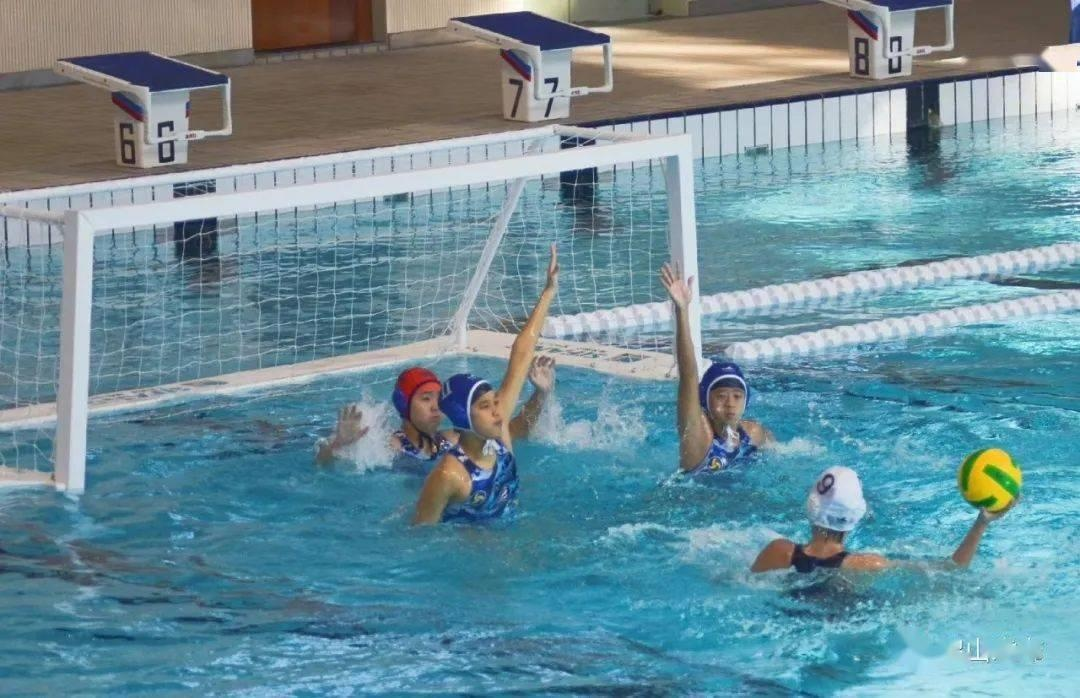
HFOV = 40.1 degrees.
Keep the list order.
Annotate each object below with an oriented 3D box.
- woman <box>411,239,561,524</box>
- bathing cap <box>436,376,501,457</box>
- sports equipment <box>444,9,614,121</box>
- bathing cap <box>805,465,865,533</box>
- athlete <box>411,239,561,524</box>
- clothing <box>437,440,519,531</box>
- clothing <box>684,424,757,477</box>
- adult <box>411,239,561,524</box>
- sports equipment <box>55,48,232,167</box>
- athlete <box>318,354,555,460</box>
[{"bbox_3d":[-0.259,0.187,6.805,0.455,1.099,0.914,1,12,21],"label":"woman"},{"bbox_3d":[-0.333,0.242,6.448,0.149,0.270,0.252,-13,14,-37],"label":"bathing cap"},{"bbox_3d":[-0.007,-2.449,12.733,1.182,0.971,0.758,5,14,38],"label":"sports equipment"},{"bbox_3d":[1.241,0.598,6.076,0.284,0.240,0.286,4,-1,-7],"label":"bathing cap"},{"bbox_3d":[-0.290,0.183,7.702,0.411,1.851,0.801,40,62,21],"label":"athlete"},{"bbox_3d":[-0.290,0.602,6.566,0.363,0.390,0.247,-14,38,-33],"label":"clothing"},{"bbox_3d":[0.892,0.497,7.078,0.330,0.132,0.173,-2,14,-30],"label":"clothing"},{"bbox_3d":[-0.290,0.183,7.702,0.411,1.851,0.801,40,62,21],"label":"adult"},{"bbox_3d":[-3.104,-1.820,11.521,0.897,0.639,1.488,-8,22,-32],"label":"sports equipment"},{"bbox_3d":[-0.473,0.331,7.116,0.417,0.488,1.363,-7,-2,-21],"label":"athlete"}]
